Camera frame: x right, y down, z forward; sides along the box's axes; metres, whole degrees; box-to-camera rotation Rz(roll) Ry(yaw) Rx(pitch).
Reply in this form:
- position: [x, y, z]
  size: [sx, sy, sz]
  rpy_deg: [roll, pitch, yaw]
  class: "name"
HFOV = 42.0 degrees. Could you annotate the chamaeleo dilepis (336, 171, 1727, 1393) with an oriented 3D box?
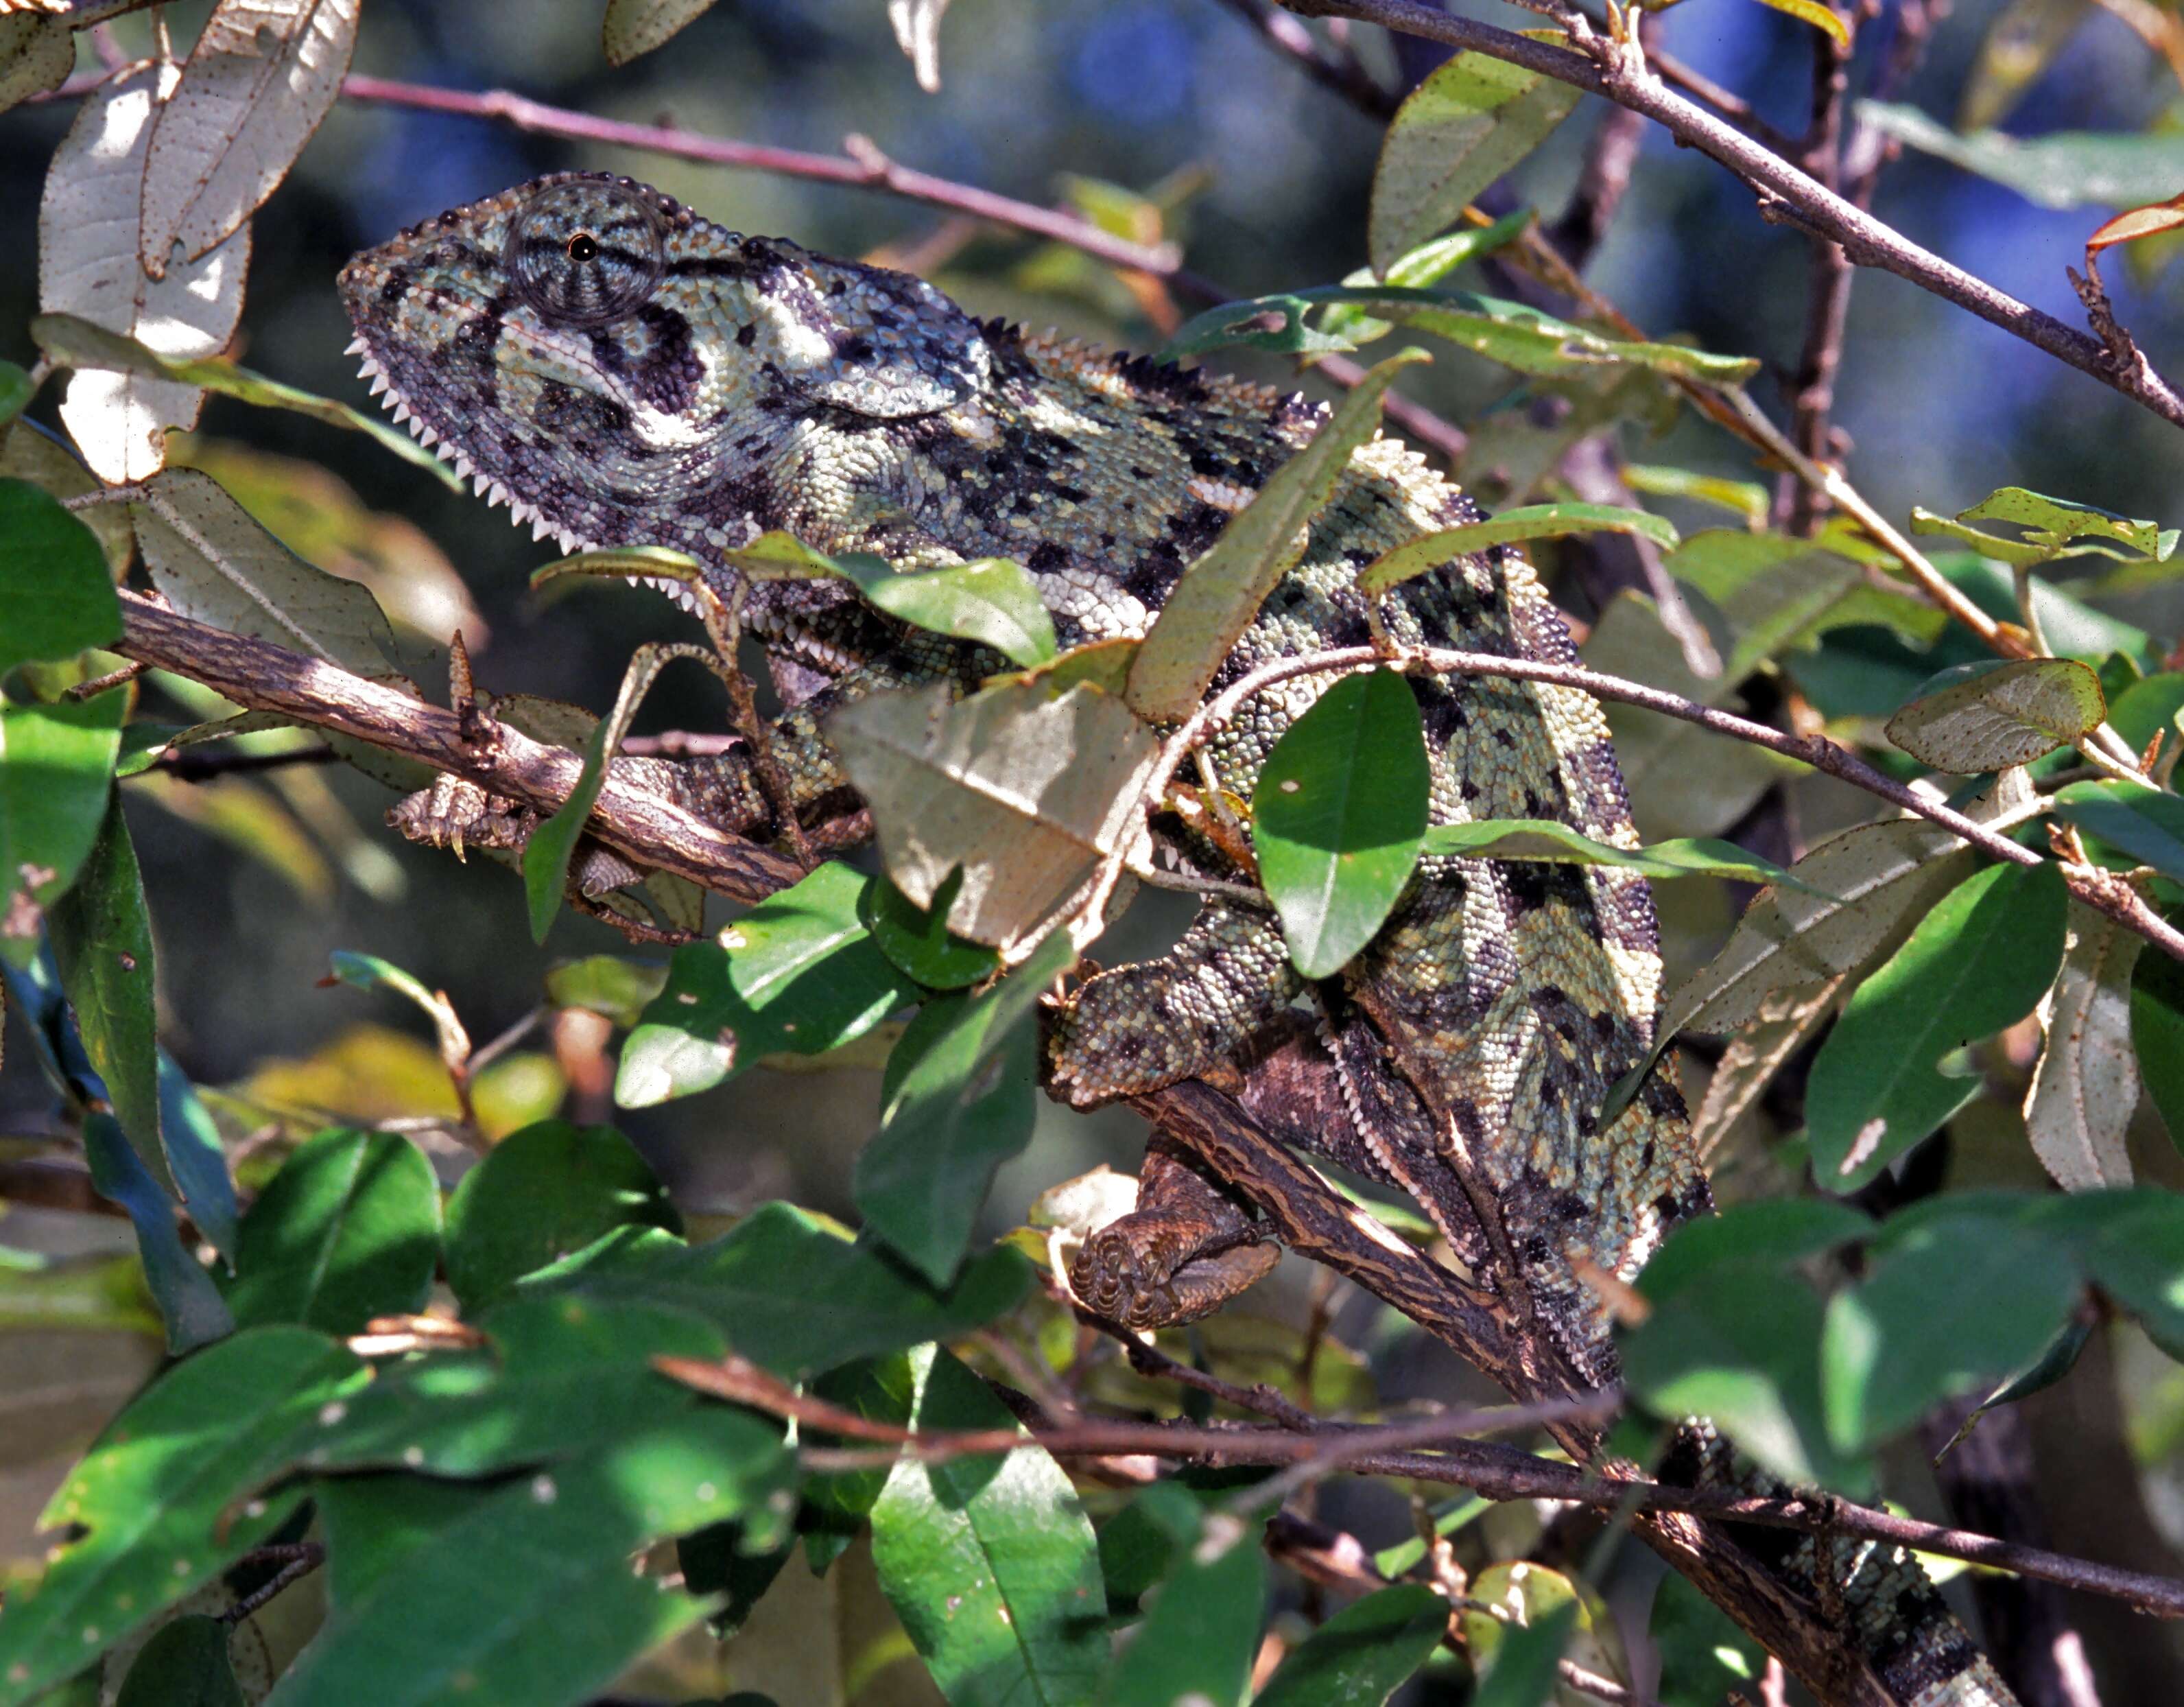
- position: [-0.042, 0.021, 2.743]
  size: [0.714, 1.785, 0.450]
  rpy_deg: [9, 64, -46]
  class: "chamaeleo dilepis"
